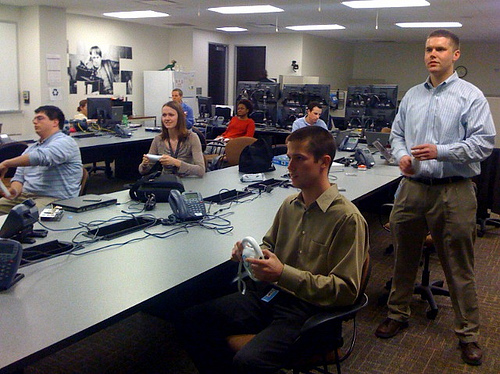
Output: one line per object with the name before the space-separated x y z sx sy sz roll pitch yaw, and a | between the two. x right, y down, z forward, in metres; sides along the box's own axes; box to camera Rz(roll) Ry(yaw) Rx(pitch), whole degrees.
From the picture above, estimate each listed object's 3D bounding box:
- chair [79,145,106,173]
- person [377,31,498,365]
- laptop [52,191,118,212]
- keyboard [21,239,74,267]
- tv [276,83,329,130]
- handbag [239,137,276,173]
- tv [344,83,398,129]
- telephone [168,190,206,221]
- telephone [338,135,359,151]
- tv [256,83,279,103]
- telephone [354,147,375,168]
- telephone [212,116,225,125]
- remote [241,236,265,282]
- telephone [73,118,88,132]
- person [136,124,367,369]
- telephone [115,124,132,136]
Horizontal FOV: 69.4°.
chair | -2.358 -0.421 5.413 0.421 0.483 0.418 1 7 14
person | 1.249 0.054 2.380 0.643 2.043 0.477 4 14 20
laptop | -1.185 0.106 2.580 0.412 0.060 0.297 -11 18 -39
keyboard | -1.037 0.324 1.820 0.217 0.024 0.271 12 18 40
tv | 1.073 -1.511 6.915 0.959 0.859 0.341 6 12 24
handbag | 0.063 -0.331 3.675 0.381 0.363 0.305 8 26 15
tv | 1.980 -1.309 5.979 0.812 0.784 0.082 5 -2 9
telephone | -0.402 0.117 2.376 0.201 0.097 0.262 -3 31 -28
telephone | 1.398 -0.607 5.109 0.176 0.097 0.250 10 49 30
tv | 0.351 -1.809 7.294 0.570 0.511 0.339 6 10 30
telephone | 1.338 -0.338 4.234 0.137 0.156 0.272 -16 30 2
telephone | -0.670 -1.406 7.645 0.213 0.119 0.295 -1 3 0
remote | 0.010 0.320 1.548 0.098 0.232 0.176 -1 13 -1
telephone | -2.797 -1.047 5.941 0.171 0.209 0.231 12 27 13
person | 0.104 0.272 1.596 0.777 1.023 0.498 -4 13 -15
telephone | -2.004 -0.890 5.709 0.228 0.100 0.175 18 19 36
